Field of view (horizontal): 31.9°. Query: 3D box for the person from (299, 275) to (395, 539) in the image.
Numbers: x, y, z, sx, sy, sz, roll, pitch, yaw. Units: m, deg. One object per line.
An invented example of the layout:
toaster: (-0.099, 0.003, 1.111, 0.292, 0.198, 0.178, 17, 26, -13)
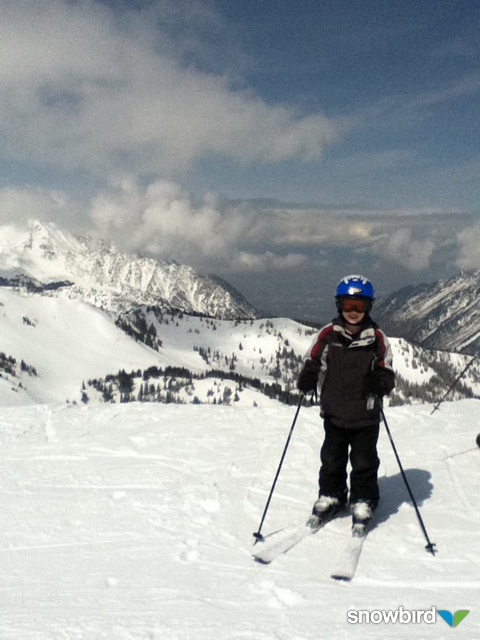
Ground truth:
person: (1.714, 1.252, 13.202, 1.146, 3.906, 1.411, 3, 1, -23)
